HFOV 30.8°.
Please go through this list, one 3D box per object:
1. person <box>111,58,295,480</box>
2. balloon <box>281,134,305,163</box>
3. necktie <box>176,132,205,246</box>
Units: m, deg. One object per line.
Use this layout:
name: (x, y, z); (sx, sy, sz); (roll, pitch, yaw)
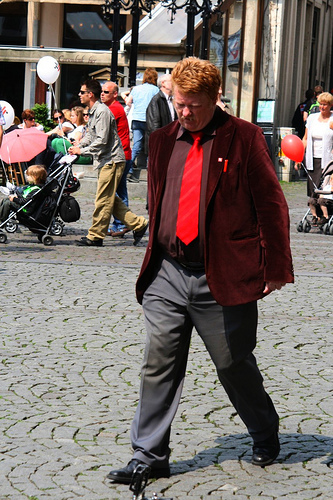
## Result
person: (0.176, 0.110, 2.373); (0.617, 1.633, 0.411); (4, 6, 9)
balloon: (2.268, -1.828, 10.829); (0.407, 0.468, 0.360); (3, 6, -1)
necktie: (0.096, -0.242, 2.287); (0.098, 0.440, 0.030); (9, 9, 37)
